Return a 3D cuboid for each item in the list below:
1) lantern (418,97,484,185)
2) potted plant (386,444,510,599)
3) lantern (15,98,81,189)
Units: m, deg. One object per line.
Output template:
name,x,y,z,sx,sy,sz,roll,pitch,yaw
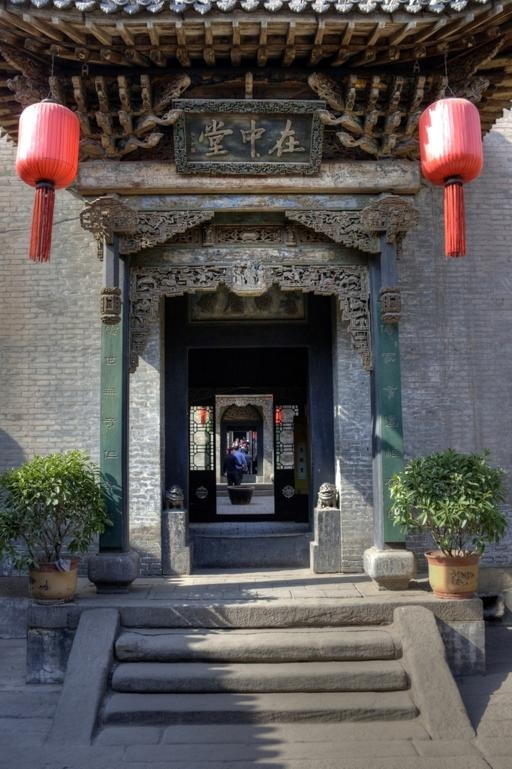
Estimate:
lantern,1.444,-1.825,6.481,0.452,0.589,0.313,0,-5,12
potted plant,1.408,1.029,6.492,0.836,1.097,0.554,-1,-5,19
lantern,-1.539,-1.787,6.390,0.421,0.606,0.306,2,-5,-13
